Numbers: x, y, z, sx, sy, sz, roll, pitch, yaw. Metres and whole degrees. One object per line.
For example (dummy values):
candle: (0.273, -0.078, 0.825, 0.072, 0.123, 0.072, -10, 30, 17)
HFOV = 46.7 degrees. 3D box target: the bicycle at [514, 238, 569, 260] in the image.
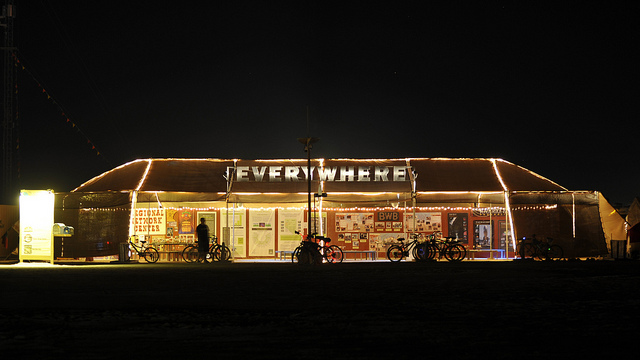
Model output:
bicycle: (12.031, 3.700, 40.047, 2.557, 1.101, 1.100, 0, -4, 5)

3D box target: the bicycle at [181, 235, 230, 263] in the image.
bicycle: (-6.211, 3.874, 40.341, 2.876, 1.256, 1.199, -1, -3, -4)

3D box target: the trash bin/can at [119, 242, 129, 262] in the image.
trash bin/can: (-10.404, 3.828, 39.369, 0.363, 0.991, 0.596, -1, 8, 2)

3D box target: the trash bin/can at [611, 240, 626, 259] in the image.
trash bin/can: (16.356, 3.773, 40.509, 0.864, 0.950, 0.716, 1, 8, 12)

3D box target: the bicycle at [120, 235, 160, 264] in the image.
bicycle: (-9.759, 3.784, 40.089, 2.423, 1.123, 0.964, 1, -1, 21)

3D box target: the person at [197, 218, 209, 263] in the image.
person: (-6.194, 3.136, 39.268, 0.588, 2.348, 1.015, -2, 8, -8)
